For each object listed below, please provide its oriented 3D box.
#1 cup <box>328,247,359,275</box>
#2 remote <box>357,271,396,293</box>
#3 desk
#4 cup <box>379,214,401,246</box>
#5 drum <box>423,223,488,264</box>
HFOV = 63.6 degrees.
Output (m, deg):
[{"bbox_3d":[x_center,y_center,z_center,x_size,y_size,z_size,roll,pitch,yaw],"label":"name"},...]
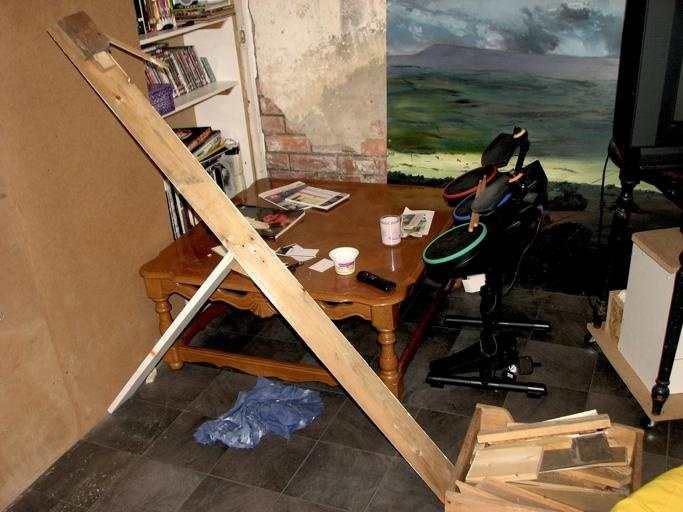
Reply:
[{"bbox_3d":[0.012,0.019,2.605,0.167,0.077,0.140,1,9,11],"label":"cup"},{"bbox_3d":[0.145,0.107,2.500,0.177,0.034,0.078,20,23,27],"label":"remote"},{"bbox_3d":[-0.142,0.104,3.136,1.410,0.721,1.331,6,33,19],"label":"desk"},{"bbox_3d":[0.241,-0.134,2.773,0.186,0.146,0.149,0,23,4],"label":"cup"},{"bbox_3d":[0.486,-0.067,2.356,0.258,0.140,0.271,-4,30,3],"label":"drum"}]
